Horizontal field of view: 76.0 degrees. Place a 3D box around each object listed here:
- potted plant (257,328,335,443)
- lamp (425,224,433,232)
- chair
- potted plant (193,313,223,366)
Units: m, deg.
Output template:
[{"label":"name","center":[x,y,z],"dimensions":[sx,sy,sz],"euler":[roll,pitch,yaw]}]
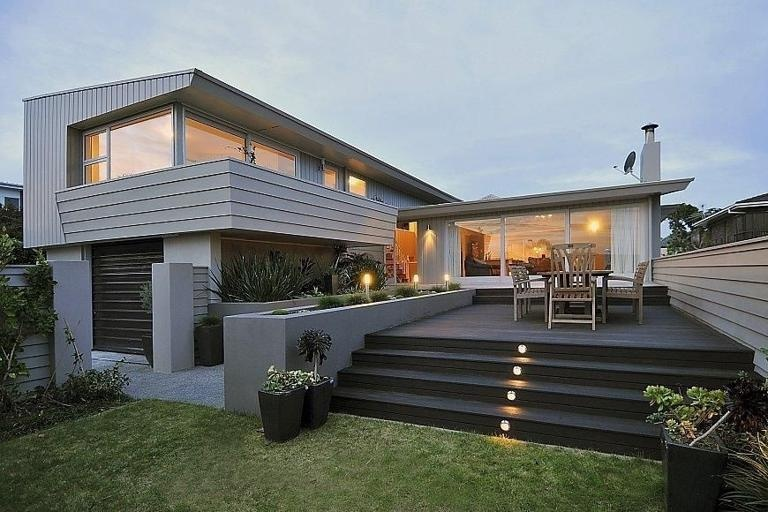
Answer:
[{"label":"potted plant","center":[-1.453,2.092,7.817],"dimensions":[0.856,1.818,1.528],"euler":[-2,-5,29]},{"label":"lamp","center":[1.548,-1.008,16.906],"dimensions":[0.176,0.210,0.182],"euler":[-1,-3,7]},{"label":"chair","center":[4.117,0.572,10.530],"dimensions":[2.614,1.263,2.576],"euler":[-3,-3,24]},{"label":"potted plant","center":[-3.892,1.872,10.848],"dimensions":[0.630,1.087,0.379],"euler":[-2,-2,-2]}]
